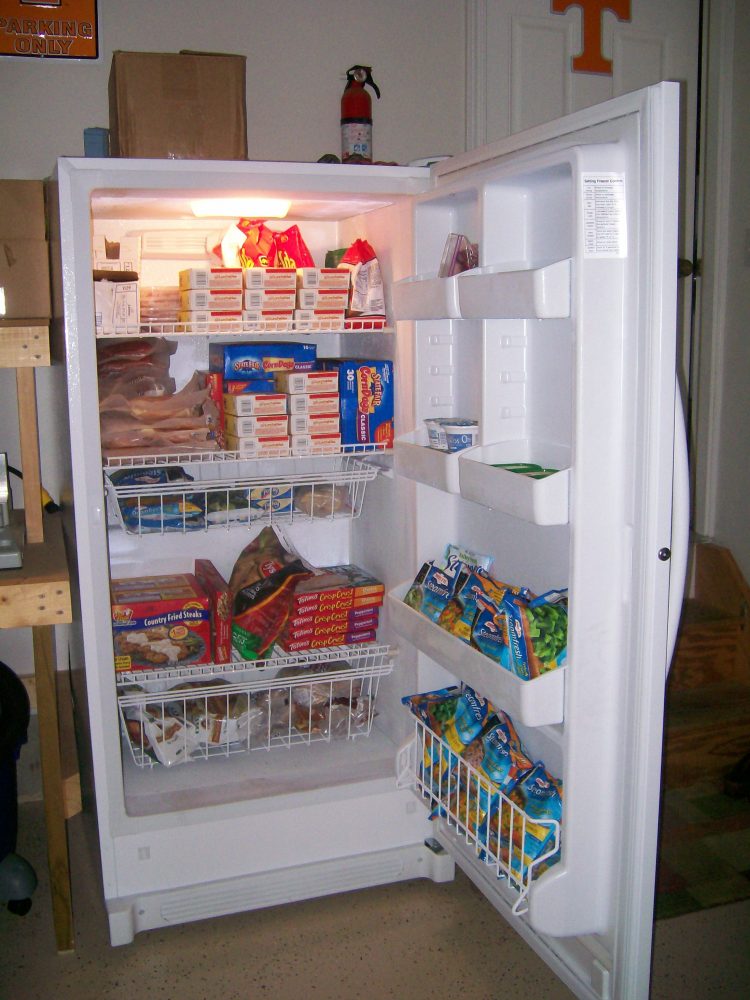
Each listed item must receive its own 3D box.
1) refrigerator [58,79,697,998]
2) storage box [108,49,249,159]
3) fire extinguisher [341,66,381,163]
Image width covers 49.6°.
[{"bbox_3d":[-0.073,0.053,1.433,0.788,1.896,0.799,-4,9,-21],"label":"refrigerator"},{"bbox_3d":[-0.394,-0.745,1.671,0.273,0.234,0.289,-3,10,-17],"label":"storage box"},{"bbox_3d":[-0.034,-0.813,1.703,0.089,0.192,0.056,-4,27,-11],"label":"fire extinguisher"}]
